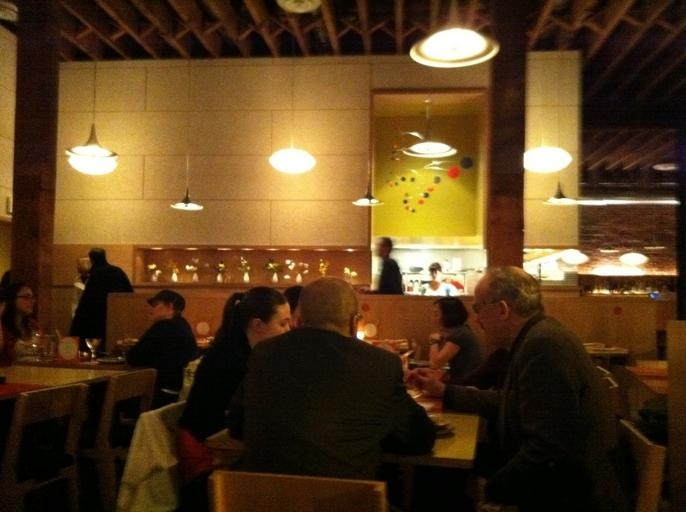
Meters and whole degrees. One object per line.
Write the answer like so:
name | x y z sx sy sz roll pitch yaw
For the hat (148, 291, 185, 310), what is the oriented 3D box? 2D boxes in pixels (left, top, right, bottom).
hat | -1.322 0.335 5.144 0.234 0.107 0.154 17 -16 -5

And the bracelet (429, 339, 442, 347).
bracelet | 0.685 0.645 5.089 0.063 0.044 0.048 6 -7 38

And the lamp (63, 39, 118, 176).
lamp | -2.852 -1.738 7.851 0.622 1.585 2.129 1 -3 -21

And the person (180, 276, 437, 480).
person | -0.017 0.550 3.125 0.895 0.899 0.299 1 -3 -18

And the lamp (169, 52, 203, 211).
lamp | -1.891 -1.526 8.344 0.409 1.924 0.635 1 -3 -14

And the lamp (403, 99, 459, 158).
lamp | 1.034 -1.552 8.301 0.836 0.742 0.844 0 -2 -1

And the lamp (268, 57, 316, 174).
lamp | -0.575 -1.697 8.130 0.575 1.459 0.985 1 -2 -5
